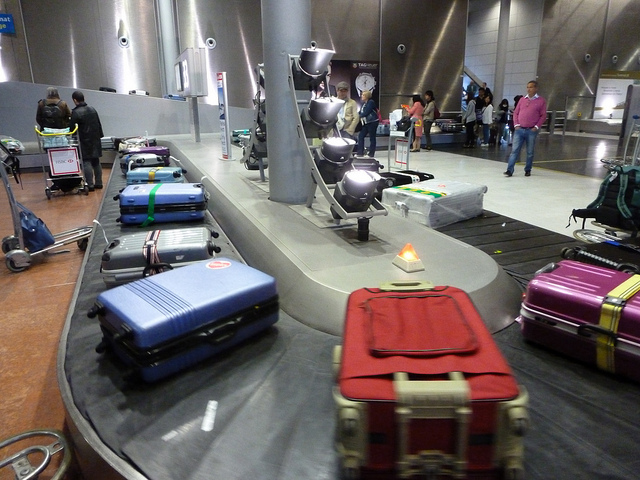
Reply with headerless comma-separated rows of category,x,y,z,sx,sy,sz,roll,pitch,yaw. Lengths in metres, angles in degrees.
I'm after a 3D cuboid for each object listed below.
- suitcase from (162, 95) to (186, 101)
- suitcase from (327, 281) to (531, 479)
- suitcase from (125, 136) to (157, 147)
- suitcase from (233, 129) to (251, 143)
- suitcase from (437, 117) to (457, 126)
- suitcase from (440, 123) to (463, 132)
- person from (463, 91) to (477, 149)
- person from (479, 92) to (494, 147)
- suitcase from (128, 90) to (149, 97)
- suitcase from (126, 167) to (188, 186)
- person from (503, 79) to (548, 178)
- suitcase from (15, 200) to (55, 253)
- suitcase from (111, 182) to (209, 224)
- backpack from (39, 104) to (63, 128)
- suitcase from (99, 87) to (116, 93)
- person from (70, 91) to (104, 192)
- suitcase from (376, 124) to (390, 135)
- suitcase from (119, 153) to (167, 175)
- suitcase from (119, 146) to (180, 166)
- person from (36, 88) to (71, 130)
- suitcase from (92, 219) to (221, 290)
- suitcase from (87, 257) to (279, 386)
suitcase,-4.047,-4.019,11.657,0.453,0.129,1.734,-6,20,-16
suitcase,0.382,0.574,1.785,0.614,0.403,0.831,-2,16,-2
suitcase,-3.305,-1.859,7.666,0.522,0.186,0.483,1,22,-1
suitcase,-1.584,-2.075,8.189,0.487,0.173,0.366,2,8,39
suitcase,4.347,-4.099,14.341,0.839,0.204,0.884,8,15,36
suitcase,4.370,-3.743,13.807,0.841,0.297,0.137,-8,21,-20
person,4.498,-3.488,12.458,0.381,1.395,0.852,6,20,18
person,5.030,-3.654,12.634,0.402,1.585,0.937,7,21,19
suitcase,-4.766,-3.892,10.951,0.369,0.164,1.575,-7,20,-18
suitcase,-1.858,-0.720,4.695,0.512,0.133,0.389,-4,16,-12
person,3.813,-2.049,7.660,0.528,1.670,0.801,8,21,23
suitcase,-3.079,-0.214,4.449,0.233,0.674,0.289,-23,34,-28
suitcase,-1.438,-0.356,3.825,0.573,0.202,0.451,1,16,-12
backpack,-4.903,-2.261,7.565,0.347,0.407,0.501,-12,22,-30
suitcase,-5.184,-3.684,10.180,0.321,0.122,0.562,-10,21,-26
person,-4.115,-1.733,7.414,0.414,1.752,0.705,-8,21,-20
suitcase,1.933,-3.379,12.677,0.382,0.311,0.189,-3,19,-8
suitcase,-2.349,-1.037,5.503,0.516,0.187,0.400,-5,9,-26
suitcase,-2.639,-1.242,6.446,0.834,0.242,0.510,-2,6,-28
person,-4.894,-2.372,7.648,0.524,0.844,0.508,-11,31,-36
suitcase,-1.119,0.079,2.913,0.629,0.226,0.484,-4,16,-20
suitcase,-0.714,0.428,2.283,0.828,0.318,0.582,-19,25,-41
